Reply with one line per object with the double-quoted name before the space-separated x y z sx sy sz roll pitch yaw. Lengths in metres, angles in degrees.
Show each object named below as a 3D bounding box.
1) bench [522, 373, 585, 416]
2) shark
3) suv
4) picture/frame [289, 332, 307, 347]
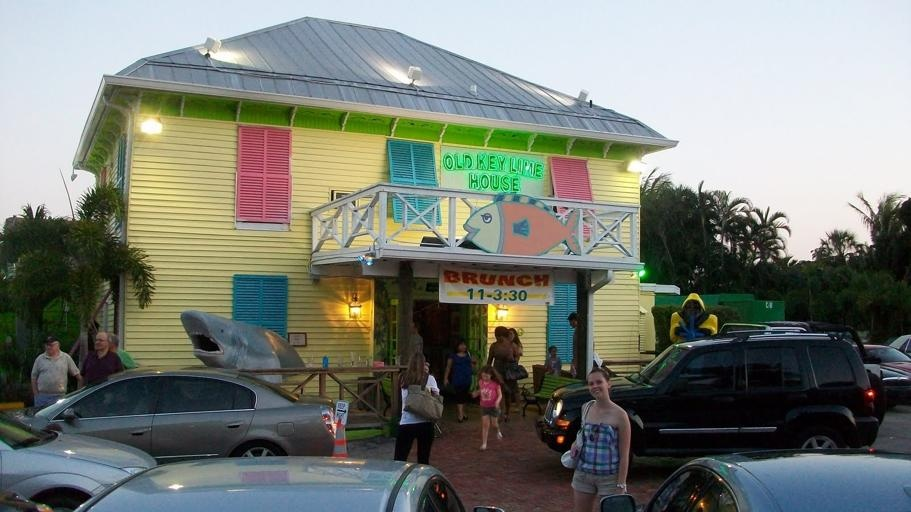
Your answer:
"bench" 2.492 3.475 19.549 0.922 0.869 2.109 4 -8 -21
"shark" -5.340 2.273 19.626 1.757 0.973 3.061 6 -13 43
"suv" 5.581 2.914 16.513 8.325 2.969 3.416 1 -1 5
"picture/frame" -4.548 2.369 22.076 0.433 0.340 0.057 -2 -8 -32
